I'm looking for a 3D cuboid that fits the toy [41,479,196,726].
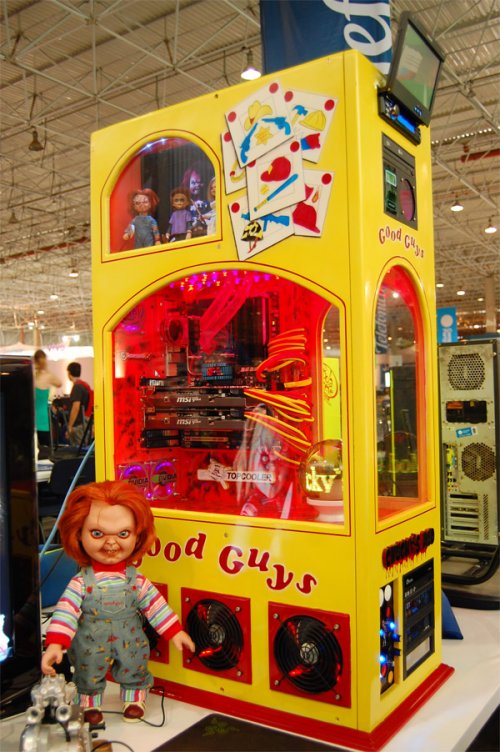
[{"bbox_3d":[-0.398,0.659,1.708,0.280,0.691,0.538,-6,-9,40],"label":"toy"}]
